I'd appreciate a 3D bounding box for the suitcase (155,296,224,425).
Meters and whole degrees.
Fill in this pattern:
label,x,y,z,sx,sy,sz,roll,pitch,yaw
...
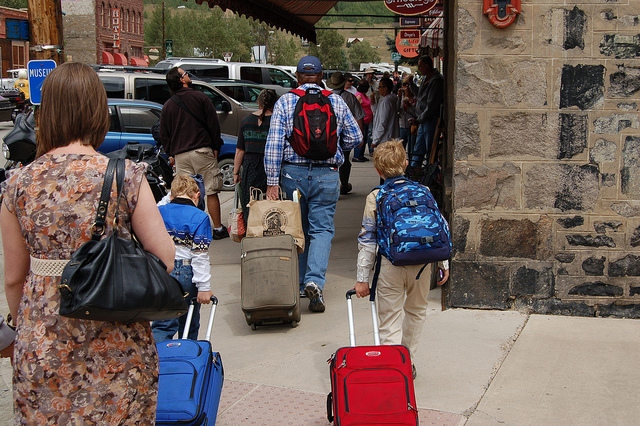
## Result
label,x,y,z,sx,sy,sz,roll,pitch,yaw
suitcase,-0.825,1.081,4.266,0.371,0.212,0.607,1,47,8

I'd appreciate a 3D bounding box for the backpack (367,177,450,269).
label,x,y,z,sx,sy,sz,roll,pitch,yaw
backpack,0.740,0.088,5.051,0.515,0.691,0.415,-5,-6,-18

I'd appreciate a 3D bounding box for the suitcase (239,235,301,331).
label,x,y,z,sx,sy,sz,roll,pitch,yaw
suitcase,-0.461,0.702,6.381,0.550,0.923,0.451,-2,14,-2

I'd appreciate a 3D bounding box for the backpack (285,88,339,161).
label,x,y,z,sx,sy,sz,roll,pitch,yaw
backpack,-0.014,-0.947,6.905,0.583,0.727,0.442,-9,13,-37

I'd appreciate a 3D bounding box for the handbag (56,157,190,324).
label,x,y,z,sx,sy,sz,roll,pitch,yaw
handbag,-1.047,0.195,3.391,0.620,0.832,0.387,-8,15,-23

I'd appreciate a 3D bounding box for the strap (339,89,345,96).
label,x,y,z,sx,sy,sz,roll,pitch,yaw
strap,0.483,-2.335,12.841,0.071,0.095,0.222,3,14,17

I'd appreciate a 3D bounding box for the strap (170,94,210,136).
label,x,y,z,sx,sy,sz,roll,pitch,yaw
strap,-1.734,-1.302,8.729,0.081,0.709,0.099,-50,16,-20

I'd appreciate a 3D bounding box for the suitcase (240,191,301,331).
label,x,y,z,sx,sy,sz,roll,pitch,yaw
suitcase,-0.457,0.702,6.386,0.553,0.925,0.467,-3,14,-3

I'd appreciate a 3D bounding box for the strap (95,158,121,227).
label,x,y,z,sx,sy,sz,roll,pitch,yaw
strap,-1.127,-0.109,3.453,0.065,0.269,0.148,8,2,-25

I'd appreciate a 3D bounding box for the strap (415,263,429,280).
label,x,y,z,sx,sy,sz,roll,pitch,yaw
strap,0.807,0.453,5.113,0.028,0.105,0.079,35,-5,4
